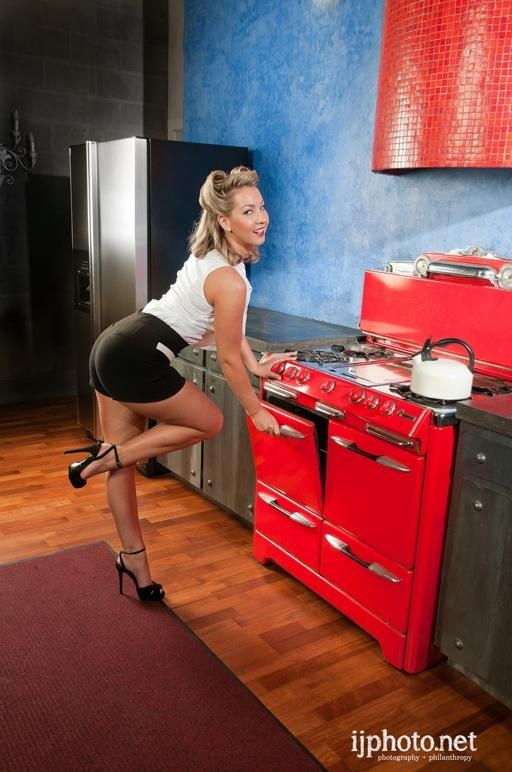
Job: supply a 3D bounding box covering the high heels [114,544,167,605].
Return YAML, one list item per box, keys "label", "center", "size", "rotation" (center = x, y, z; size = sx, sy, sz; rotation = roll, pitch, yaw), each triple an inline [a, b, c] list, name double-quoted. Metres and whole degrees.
- label: "high heels"
  center: [-0.367, 0.654, 1.942]
  size: [0.249, 0.236, 0.120]
  rotation: [1, 4, -6]

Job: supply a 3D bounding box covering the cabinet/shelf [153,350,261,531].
- label: "cabinet/shelf"
  center: [-0.177, 0.222, 2.218]
  size: [0.261, 0.609, 0.728]
  rotation: [-1, 13, -30]

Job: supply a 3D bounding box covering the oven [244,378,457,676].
- label: "oven"
  center: [0.346, 0.355, 1.859]
  size: [0.381, 0.773, 0.778]
  rotation: [-3, 11, -32]

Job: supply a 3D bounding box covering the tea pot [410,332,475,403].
- label: "tea pot"
  center: [0.474, -0.040, 1.494]
  size: [0.190, 0.178, 0.180]
  rotation: [4, 13, -1]
